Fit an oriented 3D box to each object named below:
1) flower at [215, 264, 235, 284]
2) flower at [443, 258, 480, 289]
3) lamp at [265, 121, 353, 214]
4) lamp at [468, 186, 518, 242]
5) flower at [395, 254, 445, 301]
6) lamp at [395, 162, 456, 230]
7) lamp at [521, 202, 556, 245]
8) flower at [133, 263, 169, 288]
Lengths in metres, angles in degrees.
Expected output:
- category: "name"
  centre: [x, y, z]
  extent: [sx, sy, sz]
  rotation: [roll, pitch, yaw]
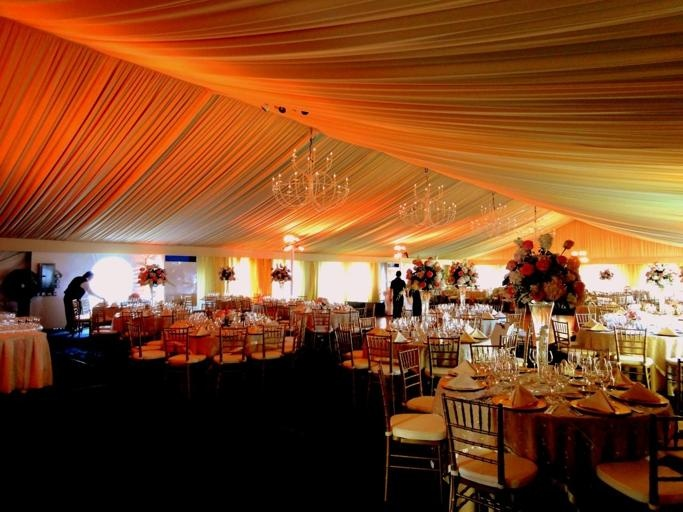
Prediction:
- category: "flower"
  centre: [-3.650, 0.588, 14.988]
  extent: [0.608, 0.516, 0.564]
  rotation: [0, 0, 3]
- category: "flower"
  centre: [2.288, 0.384, 9.459]
  extent: [0.796, 0.673, 0.733]
  rotation: [-1, -3, -15]
- category: "lamp"
  centre: [-0.688, -2.266, 11.130]
  extent: [1.587, 1.810, 1.543]
  rotation: [6, 9, 30]
- category: "lamp"
  centre: [5.001, -1.441, 16.872]
  extent: [1.388, 1.795, 1.339]
  rotation: [1, 4, 26]
- category: "flower"
  centre: [1.517, 0.420, 8.892]
  extent: [1.080, 0.960, 0.973]
  rotation: [-6, -9, 42]
- category: "lamp"
  centre: [2.750, -1.975, 14.714]
  extent: [1.388, 1.903, 1.428]
  rotation: [-11, -10, 33]
- category: "lamp"
  centre: [7.860, -1.251, 19.409]
  extent: [1.110, 1.612, 0.985]
  rotation: [-1, -1, 1]
- category: "flower"
  centre: [-4.409, 0.467, 11.080]
  extent: [0.826, 0.605, 0.771]
  rotation: [-1, 0, -28]
